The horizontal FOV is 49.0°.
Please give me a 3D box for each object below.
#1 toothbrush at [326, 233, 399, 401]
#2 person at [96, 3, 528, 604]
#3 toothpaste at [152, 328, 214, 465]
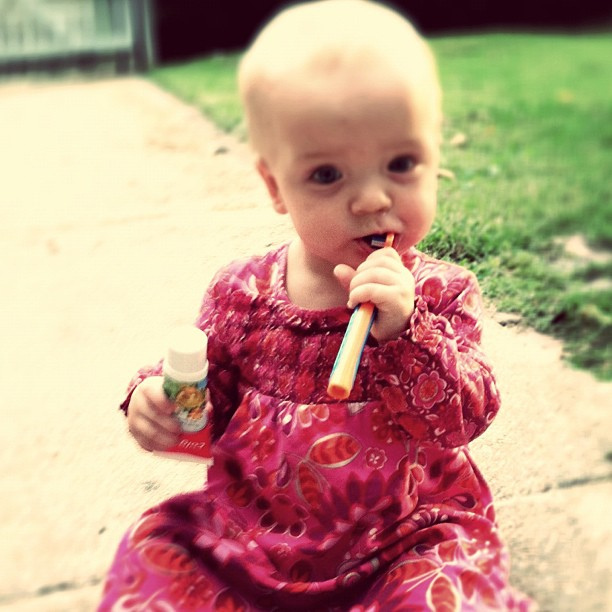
[{"bbox_3d":[0.117,0.019,0.948,0.050,0.055,0.393,8,53,18],"label":"toothbrush"},{"bbox_3d":[0.083,0.017,0.997,0.637,0.785,0.576,9,34,3],"label":"person"},{"bbox_3d":[-0.193,0.151,1.101,0.100,0.260,0.092,8,35,1],"label":"toothpaste"}]
